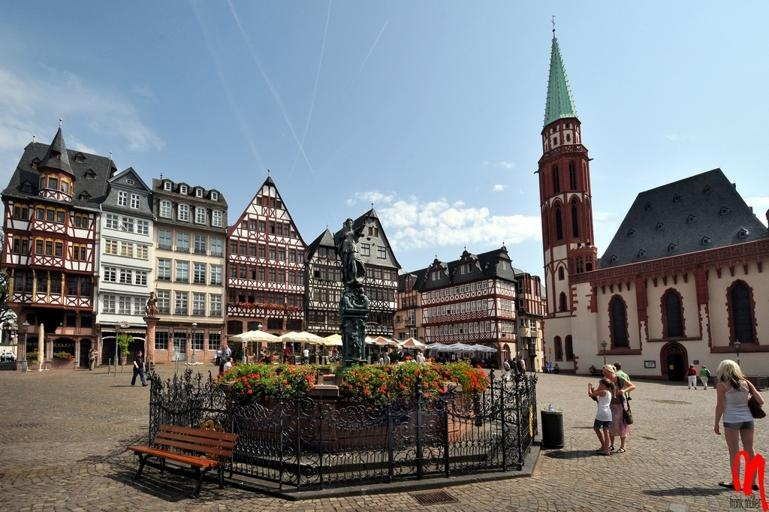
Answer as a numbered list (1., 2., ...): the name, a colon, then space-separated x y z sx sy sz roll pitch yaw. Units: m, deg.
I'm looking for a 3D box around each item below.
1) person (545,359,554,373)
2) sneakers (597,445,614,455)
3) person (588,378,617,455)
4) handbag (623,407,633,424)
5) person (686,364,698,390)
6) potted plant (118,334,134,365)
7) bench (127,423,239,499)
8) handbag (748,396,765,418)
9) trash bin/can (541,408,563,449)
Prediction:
1. person: 15.024 10.048 56.144 0.616 1.160 2.312 1 -13 -5
2. sneakers: 6.867 6.000 18.998 0.625 0.282 0.212 0 -1 -23
3. person: 6.732 4.943 18.865 0.716 2.295 1.547 -5 -14 17
4. handbag: 7.487 4.985 18.916 0.191 0.461 0.575 -8 -15 28
5. person: 18.538 7.374 37.075 0.480 1.312 1.397 -6 -14 22
6. potted plant: -19.654 7.132 46.718 1.045 2.409 3.179 5 -14 -21
7. bench: -5.580 5.507 16.863 3.375 1.297 1.191 -5 -6 36
8. handbag: 9.699 3.968 16.035 0.325 0.500 0.236 -7 -15 25
9. trash bin/can: 5.340 5.533 19.525 0.645 1.183 0.368 -2 -13 4
